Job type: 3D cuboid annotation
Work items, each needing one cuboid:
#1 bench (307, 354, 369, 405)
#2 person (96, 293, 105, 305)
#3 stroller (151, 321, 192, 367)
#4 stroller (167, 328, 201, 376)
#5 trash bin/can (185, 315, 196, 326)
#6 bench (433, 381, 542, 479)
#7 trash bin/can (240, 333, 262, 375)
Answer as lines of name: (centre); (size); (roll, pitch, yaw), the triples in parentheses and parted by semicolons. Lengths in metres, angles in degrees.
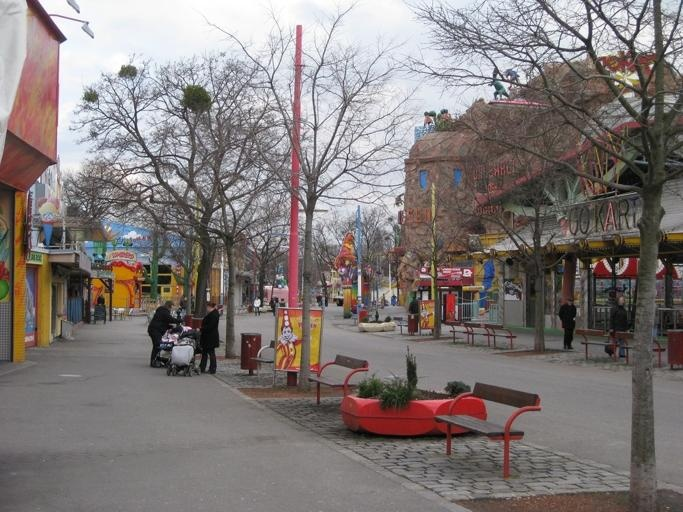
bench: (-0.100, 2.613, 16.197); (0.686, 1.090, 1.976); (3, -4, -17)
person: (-19.327, 3.401, 63.587); (0.538, 1.088, 0.716); (-2, -5, 36)
stroller: (-4.794, 2.394, 22.195); (0.919, 1.646, 0.617); (-1, -17, 28)
stroller: (-4.093, 2.411, 20.495); (0.799, 1.198, 0.833); (9, 10, 43)
trash bin/can: (-6.388, 2.706, 33.422); (0.361, 0.431, 0.382); (3, -5, -16)
bench: (2.133, 2.572, 12.017); (0.755, 1.153, 2.199); (2, -5, -14)
trash bin/can: (-2.437, 2.684, 21.459); (0.621, 1.167, 0.667); (1, -2, 35)
